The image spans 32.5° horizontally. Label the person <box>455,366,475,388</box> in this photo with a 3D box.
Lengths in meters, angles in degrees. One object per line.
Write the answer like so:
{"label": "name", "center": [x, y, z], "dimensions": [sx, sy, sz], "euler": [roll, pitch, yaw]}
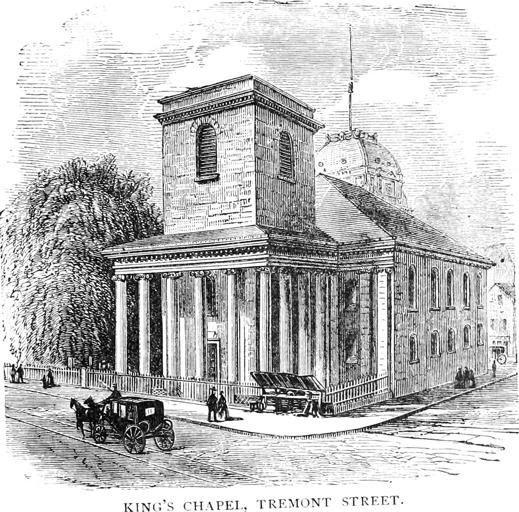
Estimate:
{"label": "person", "center": [8.214, 4.877, 35.664], "dimensions": [0.822, 0.972, 0.778], "euler": [-5, -8, 27]}

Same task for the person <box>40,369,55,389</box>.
{"label": "person", "center": [-7.933, 4.644, 33.500], "dimensions": [0.596, 0.902, 0.513], "euler": [-1, -1, 20]}
